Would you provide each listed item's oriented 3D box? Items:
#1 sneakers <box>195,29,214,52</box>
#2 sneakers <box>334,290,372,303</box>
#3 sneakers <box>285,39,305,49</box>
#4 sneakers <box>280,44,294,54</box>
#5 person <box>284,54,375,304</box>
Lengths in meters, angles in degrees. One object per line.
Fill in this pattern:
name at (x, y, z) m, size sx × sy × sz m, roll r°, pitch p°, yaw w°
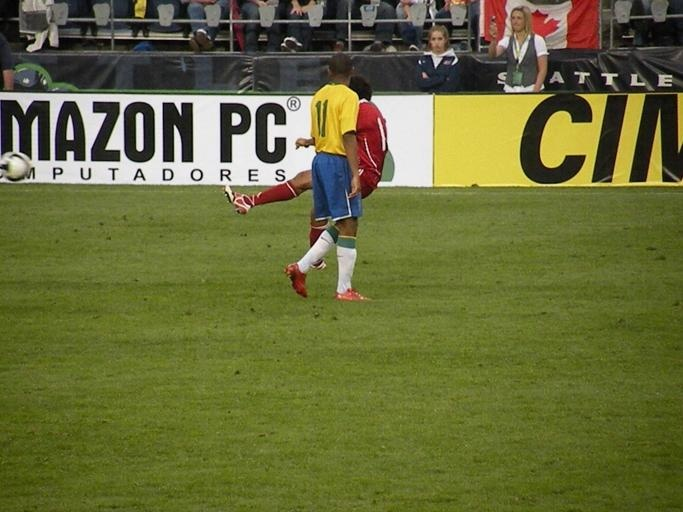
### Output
sneakers at (-2.555, -3.979, 32.865) m, size 0.185 × 0.560 × 0.253 m, roll -9°, pitch 53°, yaw -1°
sneakers at (0.123, 0.512, 22.372) m, size 0.413 × 0.168 × 0.154 m, roll 0°, pitch -1°, yaw 5°
sneakers at (-0.899, -3.941, 33.027) m, size 0.299 × 0.130 × 0.171 m, roll 24°, pitch -48°, yaw -29°
sneakers at (-1.042, -3.875, 33.107) m, size 0.315 × 0.108 × 0.125 m, roll 24°, pitch 22°, yaw -3°
person at (-0.214, -1.010, 22.575) m, size 1.352 × 3.138 × 1.176 m, roll 4°, pitch 7°, yaw 39°
